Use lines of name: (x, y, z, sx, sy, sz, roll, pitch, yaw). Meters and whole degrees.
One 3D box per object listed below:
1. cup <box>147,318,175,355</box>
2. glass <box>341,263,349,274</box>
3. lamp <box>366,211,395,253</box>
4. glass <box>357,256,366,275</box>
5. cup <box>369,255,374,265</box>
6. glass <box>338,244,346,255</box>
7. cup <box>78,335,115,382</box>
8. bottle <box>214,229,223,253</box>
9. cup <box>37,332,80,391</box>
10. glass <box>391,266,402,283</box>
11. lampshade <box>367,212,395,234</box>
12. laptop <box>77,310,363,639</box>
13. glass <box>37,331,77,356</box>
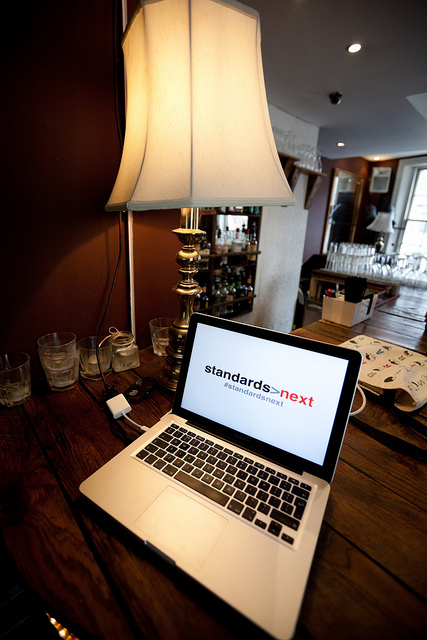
cup: (-0.146, 0.045, 1.229, 0.085, 0.099, 0.090, 0, 6, 0)
glass: (1.084, -0.415, 3.663, 0.063, 0.122, 0.065, 5, 3, 28)
lamp: (1.592, -0.808, 4.252, 0.253, 0.422, 0.250, -2, 15, -40)
glass: (1.178, -0.433, 3.556, 0.057, 0.140, 0.105, 12, 17, 16)
cup: (1.231, -0.459, 3.476, 0.037, 0.061, 0.138, 11, 17, 10)
glass: (1.047, -0.570, 3.655, 0.057, 0.070, 0.085, 11, 17, 11)
cup: (-0.303, 0.101, 1.100, 0.082, 0.097, 0.097, -14, 10, -31)
bottle: (0.035, -0.447, 2.554, 0.048, 0.122, 0.144, 8, 17, 1)
cup: (-0.346, 0.089, 1.030, 0.105, 0.139, 0.121, 0, 10, -1)
glass: (1.314, -0.319, 3.194, 0.061, 0.097, 0.286, 13, 18, 17)
lampshade: (1.557, -0.898, 4.174, 0.217, 0.160, 0.192, -11, 22, -41)
laptop: (0.022, 0.179, 0.697, 0.361, 0.286, 0.300, 16, 19, 26)
glass: (-0.359, 0.057, 1.036, 0.058, 0.047, 0.065, 2, 15, 2)
